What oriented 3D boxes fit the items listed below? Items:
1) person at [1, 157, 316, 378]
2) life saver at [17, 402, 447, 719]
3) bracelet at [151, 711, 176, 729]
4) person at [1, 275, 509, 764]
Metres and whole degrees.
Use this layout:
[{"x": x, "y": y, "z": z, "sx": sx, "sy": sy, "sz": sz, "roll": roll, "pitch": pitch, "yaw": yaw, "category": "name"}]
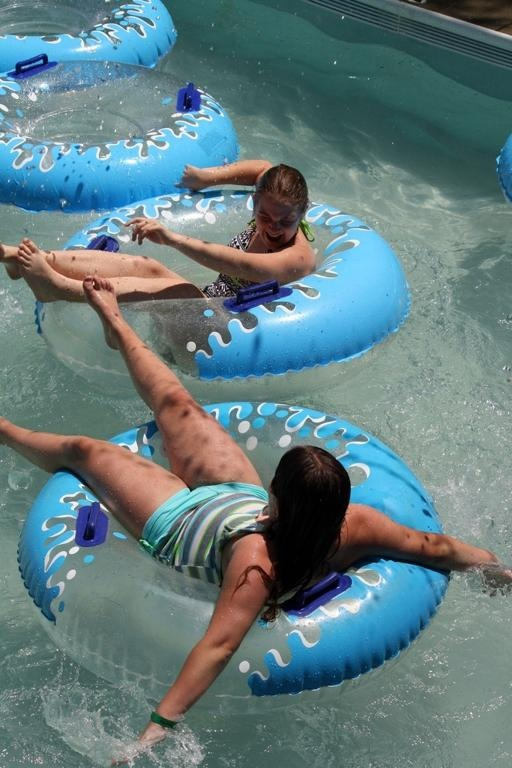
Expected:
[{"x": -0.144, "y": -0.518, "z": 3.045, "sx": 1.506, "sy": 0.809, "sz": 0.636, "roll": -11, "pitch": 33, "yaw": -6, "category": "person"}, {"x": -0.058, "y": 0.441, "z": 2.033, "sx": 1.163, "sy": 0.487, "sz": 0.821, "roll": 10, "pitch": 21, "yaw": 2, "category": "life saver"}, {"x": -0.190, "y": 0.698, "z": 1.522, "sx": 0.042, "sy": 0.015, "sz": 0.040, "roll": 23, "pitch": -5, "yaw": -13, "category": "bracelet"}, {"x": -0.160, "y": 0.246, "z": 1.967, "sx": 1.058, "sy": 0.469, "sz": 0.943, "roll": 31, "pitch": 26, "yaw": 36, "category": "person"}]
